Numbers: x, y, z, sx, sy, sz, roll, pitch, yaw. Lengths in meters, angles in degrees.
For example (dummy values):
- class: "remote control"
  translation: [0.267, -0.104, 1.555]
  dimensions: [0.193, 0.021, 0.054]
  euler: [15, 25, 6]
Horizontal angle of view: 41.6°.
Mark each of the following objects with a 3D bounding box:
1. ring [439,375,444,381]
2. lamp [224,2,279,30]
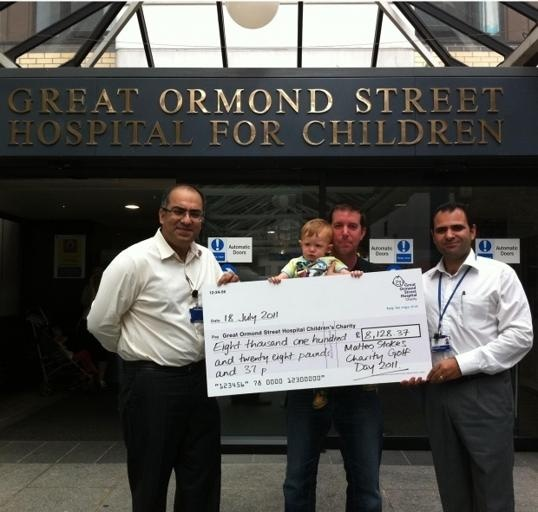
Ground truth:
- class: "ring"
  translation: [1.198, 0.843, 4.915]
  dimensions: [0.030, 0.031, 0.008]
  euler: [20, 39, 17]
- class: "lamp"
  translation: [-0.143, -2.108, 6.145]
  dimensions: [0.443, 0.192, 0.277]
  euler: [-2, -1, 2]
